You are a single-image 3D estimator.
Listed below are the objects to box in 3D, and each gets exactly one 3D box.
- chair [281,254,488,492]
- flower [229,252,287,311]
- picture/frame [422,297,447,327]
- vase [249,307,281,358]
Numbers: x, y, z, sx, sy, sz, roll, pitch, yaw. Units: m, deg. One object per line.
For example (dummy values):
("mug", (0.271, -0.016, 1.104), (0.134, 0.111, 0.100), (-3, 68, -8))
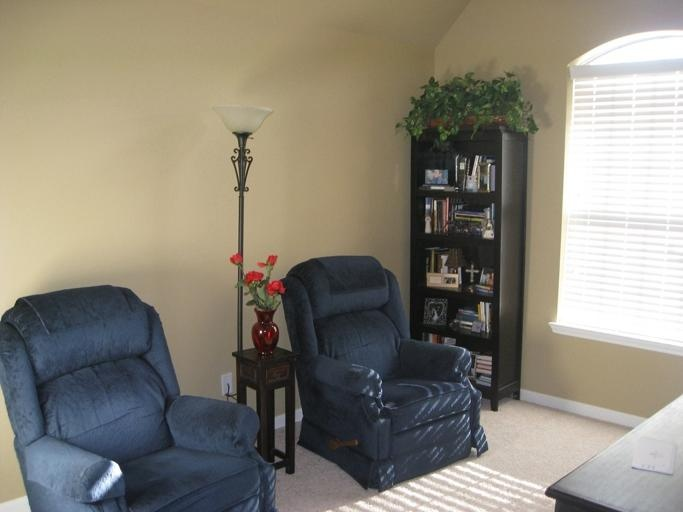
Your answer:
("chair", (0.212, 0.720, 4.434), (1.277, 1.567, 1.464), (-5, 8, -36))
("flower", (-0.564, 0.165, 3.895), (0.236, 0.343, 0.260), (-6, -9, 24))
("picture/frame", (0.825, 0.501, 5.237), (0.224, 0.276, 0.029), (-1, -10, 22))
("vase", (-0.494, 0.486, 3.886), (0.172, 0.308, 0.179), (-3, 13, -16))
